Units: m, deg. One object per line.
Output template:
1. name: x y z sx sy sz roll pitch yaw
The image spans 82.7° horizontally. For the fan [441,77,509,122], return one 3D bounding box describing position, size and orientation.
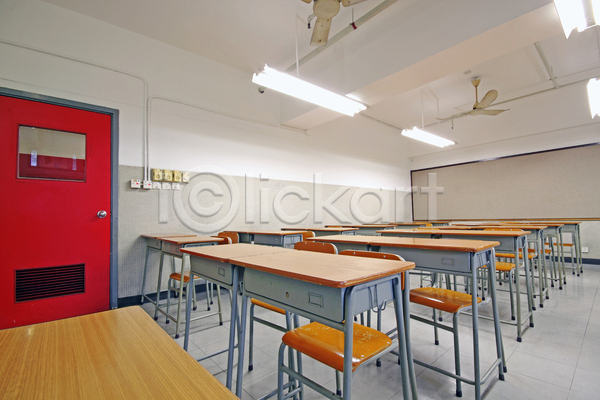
1. fan: 3.150 -1.673 6.033 1.052 0.690 1.072 -2 4 -28
